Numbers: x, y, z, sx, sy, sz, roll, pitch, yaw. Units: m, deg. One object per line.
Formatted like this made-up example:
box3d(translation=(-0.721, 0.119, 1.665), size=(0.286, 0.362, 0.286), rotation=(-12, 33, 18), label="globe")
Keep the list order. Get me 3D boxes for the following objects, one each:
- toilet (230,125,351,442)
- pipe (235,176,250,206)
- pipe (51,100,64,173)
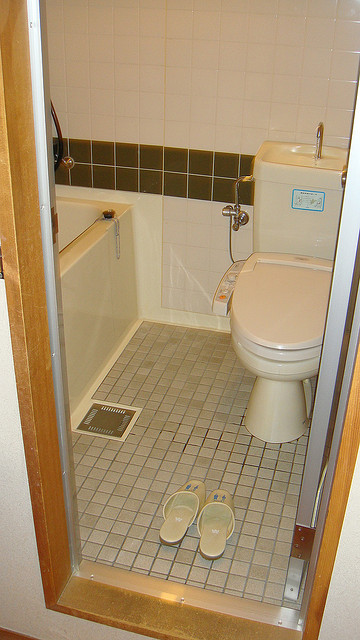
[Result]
box3d(translation=(0.414, -0.184, 1.662), size=(0.383, 1.126, 0.618), rotation=(3, 0, 15), label="toilet")
box3d(translation=(0.282, -0.592, 1.998), size=(0.060, 0.164, 0.027), rotation=(-1, 50, 3), label="pipe")
box3d(translation=(-0.581, -0.869, 2.083), size=(0.063, 0.326, 0.301), rotation=(4, 0, -16), label="pipe")
